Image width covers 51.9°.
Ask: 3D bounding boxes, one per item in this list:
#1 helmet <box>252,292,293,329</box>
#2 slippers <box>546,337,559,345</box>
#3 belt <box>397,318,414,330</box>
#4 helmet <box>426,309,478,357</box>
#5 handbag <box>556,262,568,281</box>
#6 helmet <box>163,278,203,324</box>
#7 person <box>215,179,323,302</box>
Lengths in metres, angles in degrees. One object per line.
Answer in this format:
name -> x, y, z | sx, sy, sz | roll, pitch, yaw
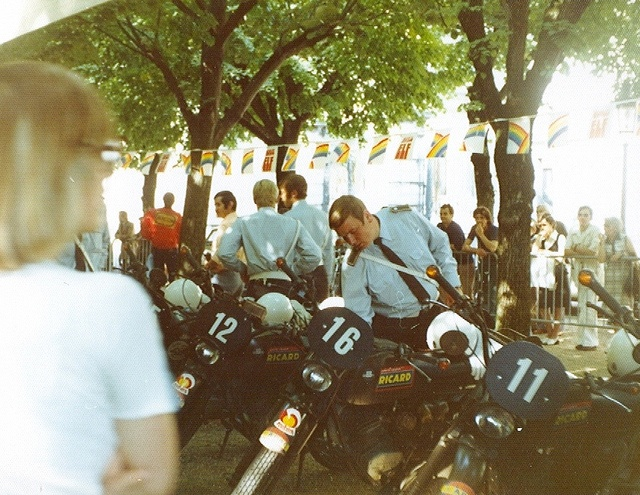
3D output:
helmet -> -0.314, 0.469, 4.692 | 0.192, 0.229, 0.241 | 6, -9, -6
slippers -> 3.347, 1.351, 9.546 | 0.088, 0.080, 0.179 | -5, -6, 34
belt -> 0.559, 0.487, 4.245 | 0.067, 0.077, 0.020 | 4, 10, -2
helmet -> 0.744, 0.466, 3.631 | 0.271, 0.262, 0.215 | 22, 0, 3
handbag -> 3.539, 0.327, 9.660 | 0.040, 0.181, 0.192 | -1, -43, -19
helmet -> -1.047, 0.401, 4.991 | 0.259, 0.337, 0.275 | -6, -2, -7
person -> -0.471, -0.161, 5.849 | 0.813, 0.952, 0.596 | -2, -9, -10
